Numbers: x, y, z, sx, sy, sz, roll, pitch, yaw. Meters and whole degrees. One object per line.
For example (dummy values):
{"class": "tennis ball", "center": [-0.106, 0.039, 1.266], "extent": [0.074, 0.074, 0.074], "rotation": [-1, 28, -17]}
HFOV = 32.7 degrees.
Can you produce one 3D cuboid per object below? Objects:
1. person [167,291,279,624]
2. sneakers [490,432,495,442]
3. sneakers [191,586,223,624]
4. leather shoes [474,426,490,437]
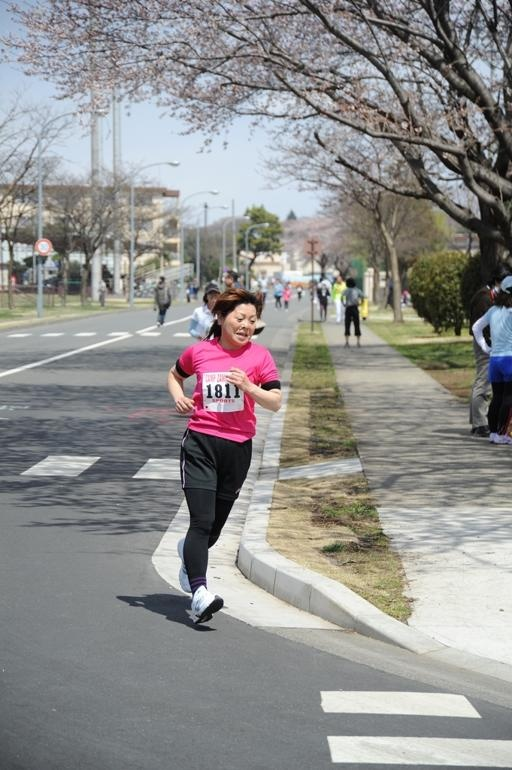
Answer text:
{"class": "person", "center": [-0.139, 0.322, 4.108], "extent": [0.493, 1.542, 0.574], "rotation": [-1, 8, -20]}
{"class": "sneakers", "center": [2.675, 0.605, 9.816], "extent": [0.081, 0.127, 0.087], "rotation": [0, 3, 20]}
{"class": "sneakers", "center": [-0.232, 1.028, 3.998], "extent": [0.123, 0.232, 0.241], "rotation": [0, 7, -7]}
{"class": "leather shoes", "center": [2.661, 0.560, 10.312], "extent": [0.102, 0.075, 0.156], "rotation": [1, -8, -3]}
